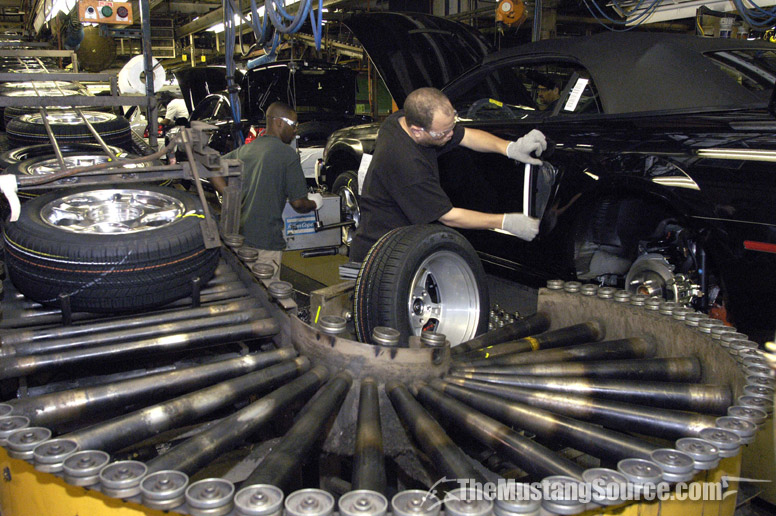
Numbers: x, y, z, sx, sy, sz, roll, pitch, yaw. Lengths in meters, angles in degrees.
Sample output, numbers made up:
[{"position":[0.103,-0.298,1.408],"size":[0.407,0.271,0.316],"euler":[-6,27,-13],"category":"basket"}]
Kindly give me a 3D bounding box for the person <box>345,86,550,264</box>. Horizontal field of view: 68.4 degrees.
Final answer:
[{"position":[0.359,-0.494,4.089],"size":[1.270,1.172,0.809],"euler":[-3,19,-10],"category":"person"}]

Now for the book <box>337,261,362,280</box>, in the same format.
[{"position":[-0.255,0.134,3.871],"size":[0.145,0.078,0.139],"euler":[3,11,13],"category":"book"}]

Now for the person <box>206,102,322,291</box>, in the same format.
[{"position":[-1.012,-0.408,4.900],"size":[0.679,1.498,1.266],"euler":[2,18,4],"category":"person"}]
